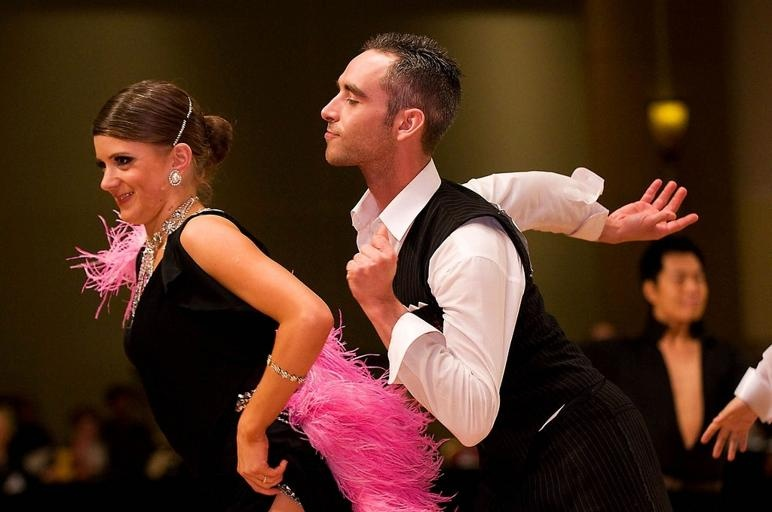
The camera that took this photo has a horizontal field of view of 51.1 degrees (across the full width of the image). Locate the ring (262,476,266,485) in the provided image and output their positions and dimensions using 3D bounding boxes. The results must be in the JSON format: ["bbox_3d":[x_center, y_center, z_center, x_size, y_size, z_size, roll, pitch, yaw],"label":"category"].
[{"bbox_3d":[-0.448,0.820,2.956,0.005,0.020,0.016,13,2,12],"label":"ring"}]

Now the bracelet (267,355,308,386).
[{"bbox_3d":[-0.363,0.416,2.925,0.111,0.031,0.106,31,-3,-34],"label":"bracelet"}]

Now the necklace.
[{"bbox_3d":[-0.922,-0.016,3.196,0.184,0.730,0.038,29,20,-14],"label":"necklace"}]
